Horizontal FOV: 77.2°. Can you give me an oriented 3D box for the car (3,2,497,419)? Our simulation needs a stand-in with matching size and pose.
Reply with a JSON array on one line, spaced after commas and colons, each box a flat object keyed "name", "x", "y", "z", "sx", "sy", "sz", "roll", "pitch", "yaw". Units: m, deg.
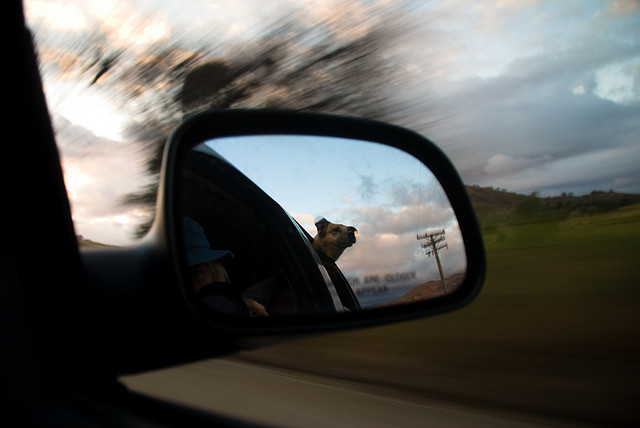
[{"name": "car", "x": 0.039, "y": 0.045, "z": 1.374, "sx": 1.669, "sy": 0.746, "sz": 0.919, "roll": -1, "pitch": 11, "yaw": 3}]
